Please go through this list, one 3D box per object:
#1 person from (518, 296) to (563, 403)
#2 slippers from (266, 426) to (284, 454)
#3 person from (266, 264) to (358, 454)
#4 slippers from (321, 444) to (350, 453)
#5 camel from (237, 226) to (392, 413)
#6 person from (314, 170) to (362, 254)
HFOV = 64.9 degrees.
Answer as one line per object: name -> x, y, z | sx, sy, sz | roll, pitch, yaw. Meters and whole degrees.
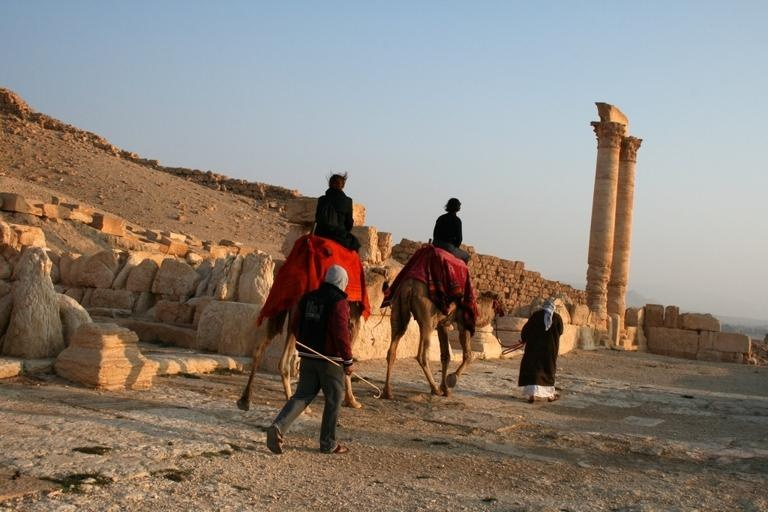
person -> 2.453, 1.439, 9.541 | 0.658, 1.680, 0.628 | 1, 0, -3
slippers -> -1.024, 1.755, 5.727 | 0.137, 0.277, 0.122 | -1, 5, 16
person -> -0.644, 1.007, 5.970 | 0.751, 1.860, 0.633 | 6, 0, -2
slippers -> -0.485, 1.902, 5.939 | 0.231, 0.059, 0.103 | 0, 6, -17
camel -> -1.005, 0.502, 7.390 | 1.449, 2.428, 2.458 | 1, 1, -12
person -> -0.642, -0.575, 7.869 | 0.700, 0.950, 0.599 | 11, 9, 35
